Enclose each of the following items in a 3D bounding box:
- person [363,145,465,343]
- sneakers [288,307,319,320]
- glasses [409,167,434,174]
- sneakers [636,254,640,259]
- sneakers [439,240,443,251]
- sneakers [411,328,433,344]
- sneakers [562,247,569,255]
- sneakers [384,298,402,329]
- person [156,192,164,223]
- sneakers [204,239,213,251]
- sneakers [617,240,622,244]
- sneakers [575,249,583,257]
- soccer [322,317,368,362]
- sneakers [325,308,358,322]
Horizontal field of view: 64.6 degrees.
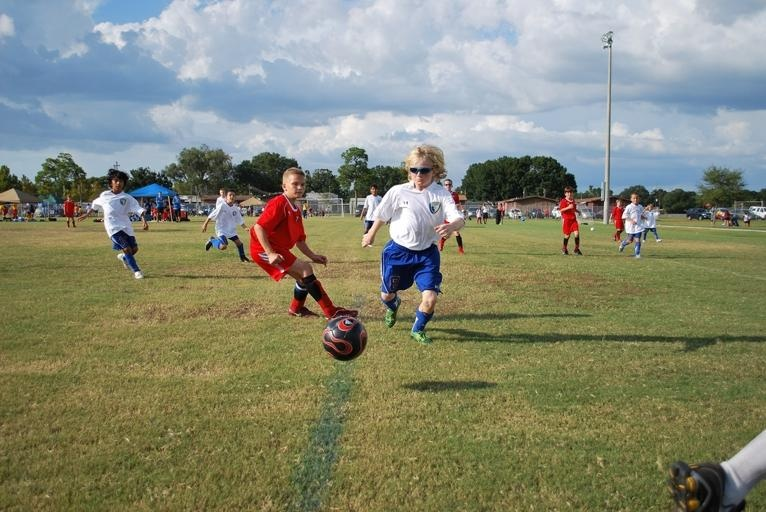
[{"bbox_3d":[0.424,-0.193,7.825,1.143,2.430,1.097,0,8,-2],"label":"person"},{"bbox_3d":[-1.145,0.818,8.837,0.363,0.154,0.192,1,4,20],"label":"sneakers"},{"bbox_3d":[0.472,-1.095,7.770,0.293,0.078,0.103,3,9,17],"label":"glasses"},{"bbox_3d":[6.837,0.028,16.206,0.100,0.116,0.123,1,-11,-5],"label":"sneakers"},{"bbox_3d":[1.766,-0.298,18.232,0.091,0.360,0.229,5,-11,-19],"label":"sneakers"},{"bbox_3d":[0.504,1.019,7.632,0.122,0.117,0.252,-1,0,-30],"label":"sneakers"},{"bbox_3d":[5.145,-0.107,16.852,0.151,0.228,0.221,-2,-4,-3],"label":"sneakers"},{"bbox_3d":[0.116,0.754,8.194,0.155,0.483,0.201,8,5,25],"label":"sneakers"},{"bbox_3d":[-15.765,-3.380,42.838,0.425,1.881,1.424,-4,9,-26],"label":"person"},{"bbox_3d":[-5.155,-0.311,17.889,0.281,0.132,0.479,8,20,3],"label":"sneakers"},{"bbox_3d":[8.514,-0.509,21.746,0.082,0.199,0.066,23,-8,30],"label":"sneakers"},{"bbox_3d":[5.504,-0.097,16.943,0.111,0.232,0.374,1,0,9],"label":"sneakers"},{"bbox_3d":[-0.388,0.884,6.711,0.444,0.469,0.460,-2,15,11],"label":"soccer"},{"bbox_3d":[-0.481,0.727,7.579,0.445,0.211,0.168,-4,10,3],"label":"sneakers"}]
